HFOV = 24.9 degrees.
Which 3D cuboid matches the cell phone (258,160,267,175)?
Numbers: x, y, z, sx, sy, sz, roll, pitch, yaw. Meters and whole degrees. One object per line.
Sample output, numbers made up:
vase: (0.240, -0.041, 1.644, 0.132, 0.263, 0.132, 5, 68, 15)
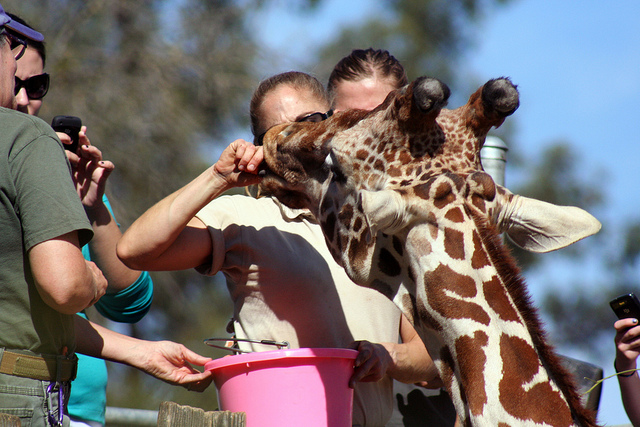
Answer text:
cell phone: (-0.501, -0.396, 12.808, 0.035, 0.110, 0.072, 6, -1, -43)
